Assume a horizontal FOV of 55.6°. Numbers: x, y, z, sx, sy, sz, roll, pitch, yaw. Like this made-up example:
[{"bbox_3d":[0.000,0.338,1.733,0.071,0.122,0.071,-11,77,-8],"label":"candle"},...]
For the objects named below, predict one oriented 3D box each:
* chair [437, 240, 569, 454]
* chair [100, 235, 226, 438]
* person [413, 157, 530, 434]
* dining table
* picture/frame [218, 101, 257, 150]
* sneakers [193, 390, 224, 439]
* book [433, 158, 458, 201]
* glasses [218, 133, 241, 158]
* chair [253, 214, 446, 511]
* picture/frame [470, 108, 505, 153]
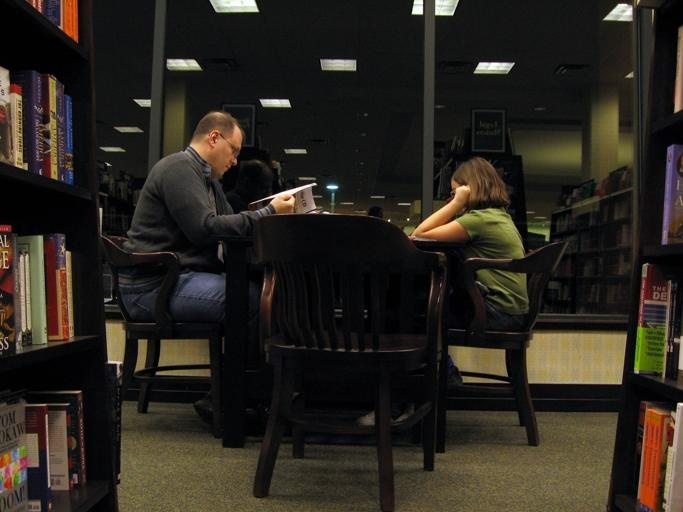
[{"bbox_3d":[0.793,0.441,3.380,0.663,0.989,0.738,1,-1,0],"label":"chair"},{"bbox_3d":[-0.905,0.399,3.427,0.638,0.928,0.658,-1,-3,-3],"label":"chair"},{"bbox_3d":[0.651,0.117,3.503,0.665,1.298,0.545,5,-2,34],"label":"person"},{"bbox_3d":[0.028,0.385,2.738,0.745,1.074,0.747,0,0,15],"label":"dining table"},{"bbox_3d":[-0.692,-0.867,4.357,0.241,0.355,0.035,-1,-22,-5],"label":"picture/frame"},{"bbox_3d":[-0.649,0.787,3.261,0.164,0.210,0.223,4,4,2],"label":"sneakers"},{"bbox_3d":[0.687,-0.506,4.344,0.083,0.257,0.195,4,-15,26],"label":"book"},{"bbox_3d":[-0.601,-0.600,3.476,0.031,0.112,0.104,-21,-26,23],"label":"glasses"},{"bbox_3d":[0.060,0.376,2.849,0.761,1.111,0.930,2,4,9],"label":"chair"},{"bbox_3d":[0.992,-0.845,4.378,0.232,0.320,0.028,4,35,19],"label":"picture/frame"}]
